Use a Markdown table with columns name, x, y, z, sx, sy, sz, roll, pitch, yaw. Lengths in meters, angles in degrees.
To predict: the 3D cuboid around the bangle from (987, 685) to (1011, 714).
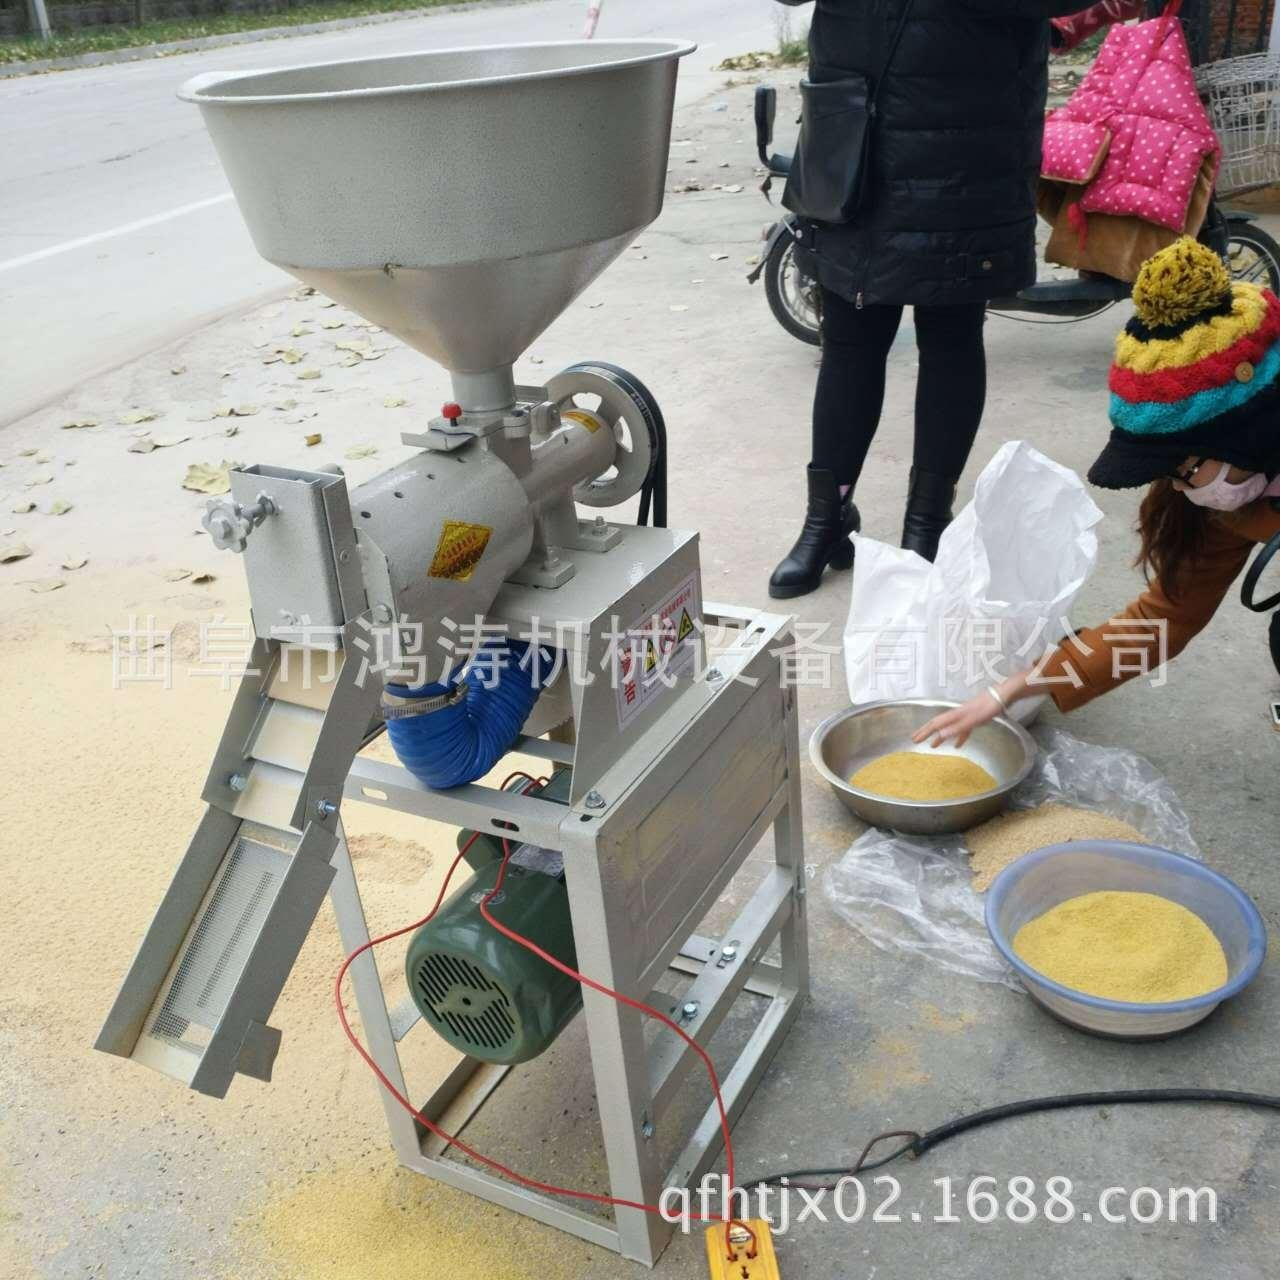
| name | x | y | z | sx | sy | sz | roll | pitch | yaw |
| --- | --- | --- | --- | --- | --- | --- | --- | --- | --- |
| bangle | 0.722 | 0.115 | 2.313 | 0.033 | 0.053 | 0.048 | -26 | 29 | -12 |

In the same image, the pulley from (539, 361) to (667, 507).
| name | x | y | z | sx | sy | sz | roll | pitch | yaw |
| --- | --- | --- | --- | --- | --- | --- | --- | --- | --- |
| pulley | -0.055 | -0.315 | 1.810 | 0.086 | 0.176 | 0.231 | -4 | 9 | -20 |

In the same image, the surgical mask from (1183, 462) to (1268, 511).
| name | x | y | z | sx | sy | sz | roll | pitch | yaw |
| --- | --- | --- | --- | --- | --- | --- | --- | --- | --- |
| surgical mask | 0.975 | -0.256 | 1.920 | 0.120 | 0.056 | 0.075 | 4 | 48 | 5 |

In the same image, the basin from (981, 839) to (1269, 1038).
| name | x | y | z | sx | sy | sz | roll | pitch | yaw |
| --- | --- | --- | --- | --- | --- | --- | --- | --- | --- |
| basin | 0.826 | 0.507 | 1.997 | 0.400 | 0.133 | 0.412 | -8 | 22 | 3 |
